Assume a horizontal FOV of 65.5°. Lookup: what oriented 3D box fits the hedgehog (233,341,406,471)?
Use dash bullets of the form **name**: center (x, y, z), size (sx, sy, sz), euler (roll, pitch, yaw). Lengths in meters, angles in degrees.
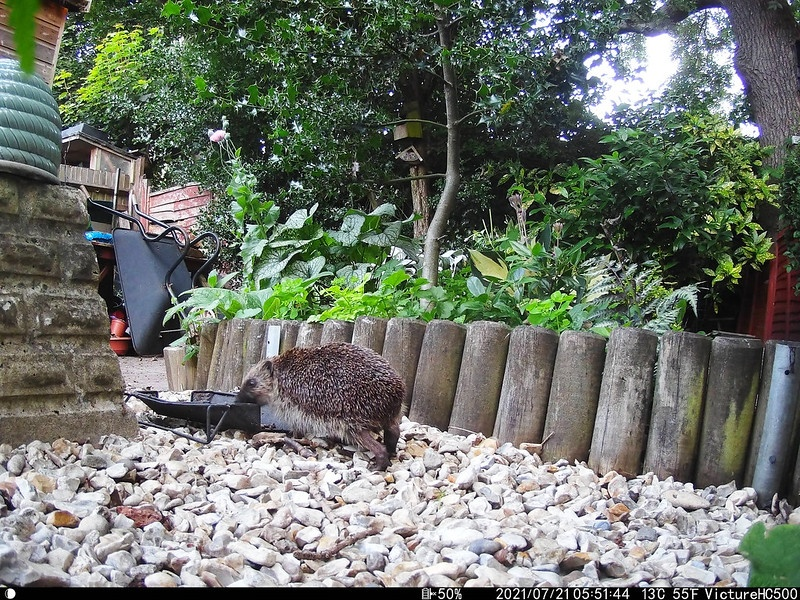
- **hedgehog**: center (-0.367, 0.504, 2.992), size (0.811, 0.525, 0.439), euler (3, -3, 19)
